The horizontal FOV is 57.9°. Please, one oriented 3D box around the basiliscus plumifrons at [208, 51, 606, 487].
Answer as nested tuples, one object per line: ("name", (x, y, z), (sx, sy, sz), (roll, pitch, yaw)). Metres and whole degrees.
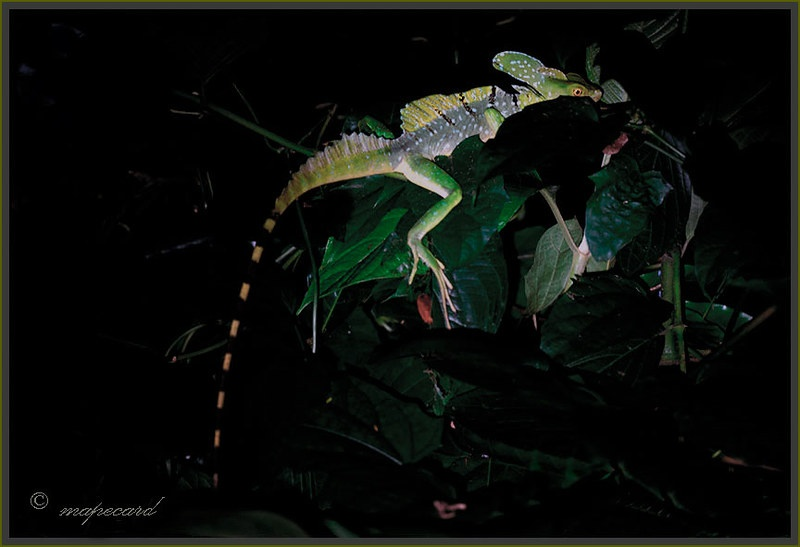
("basiliscus plumifrons", (-0.049, -0.101, 1.847), (1.110, 0.626, 0.255), (-31, -10, 8))
